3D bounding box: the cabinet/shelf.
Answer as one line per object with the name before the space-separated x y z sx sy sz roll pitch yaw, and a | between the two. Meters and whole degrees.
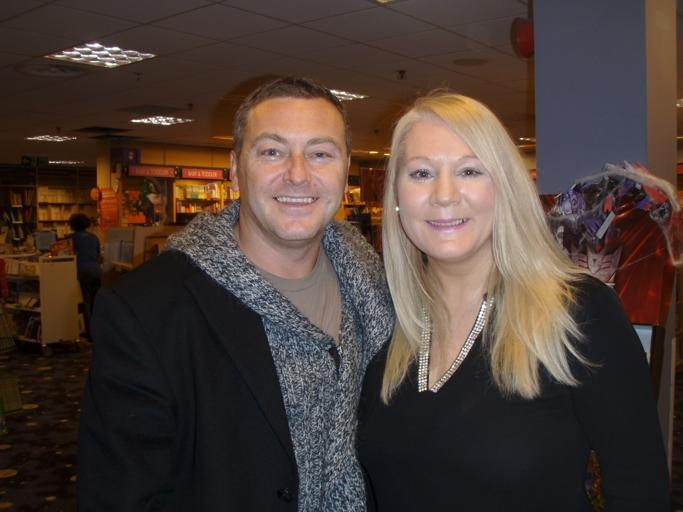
cabinet/shelf | -3.900 0.503 7.874 1.765 2.179 3.160 5 -11 -38
